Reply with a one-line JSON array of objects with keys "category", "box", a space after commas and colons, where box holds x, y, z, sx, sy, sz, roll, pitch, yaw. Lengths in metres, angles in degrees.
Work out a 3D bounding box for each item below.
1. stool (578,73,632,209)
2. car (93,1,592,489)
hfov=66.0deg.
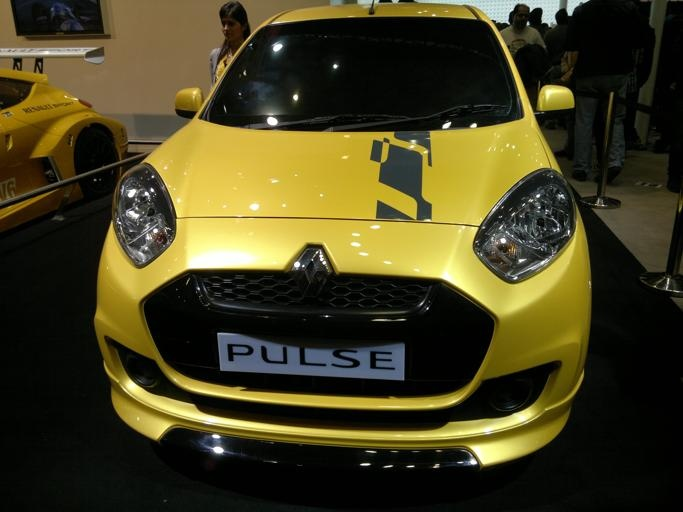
[{"category": "stool", "box": [2.125, -0.832, 4.202, 0.318, 0.837, 0.299, 9, 9, 26]}, {"category": "car", "box": [0.022, -0.166, 1.975, 1.610, 1.246, 1.306, 4, 19, 4]}]
